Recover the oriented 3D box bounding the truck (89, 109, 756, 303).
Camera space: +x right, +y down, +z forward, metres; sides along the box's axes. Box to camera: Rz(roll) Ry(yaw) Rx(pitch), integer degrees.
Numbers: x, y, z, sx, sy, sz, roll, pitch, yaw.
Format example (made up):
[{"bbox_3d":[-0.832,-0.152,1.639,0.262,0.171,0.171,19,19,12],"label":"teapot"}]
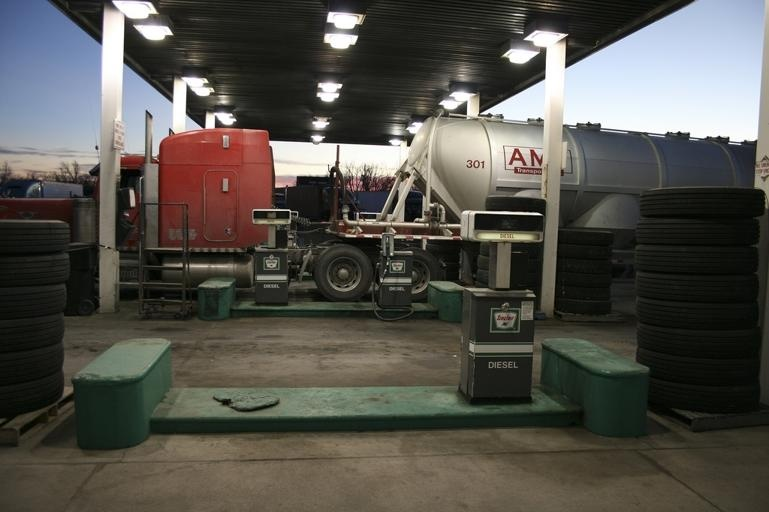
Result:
[{"bbox_3d":[0.901,-1.161,12.907,13.174,4.100,3.455,1,2,-17],"label":"truck"}]
